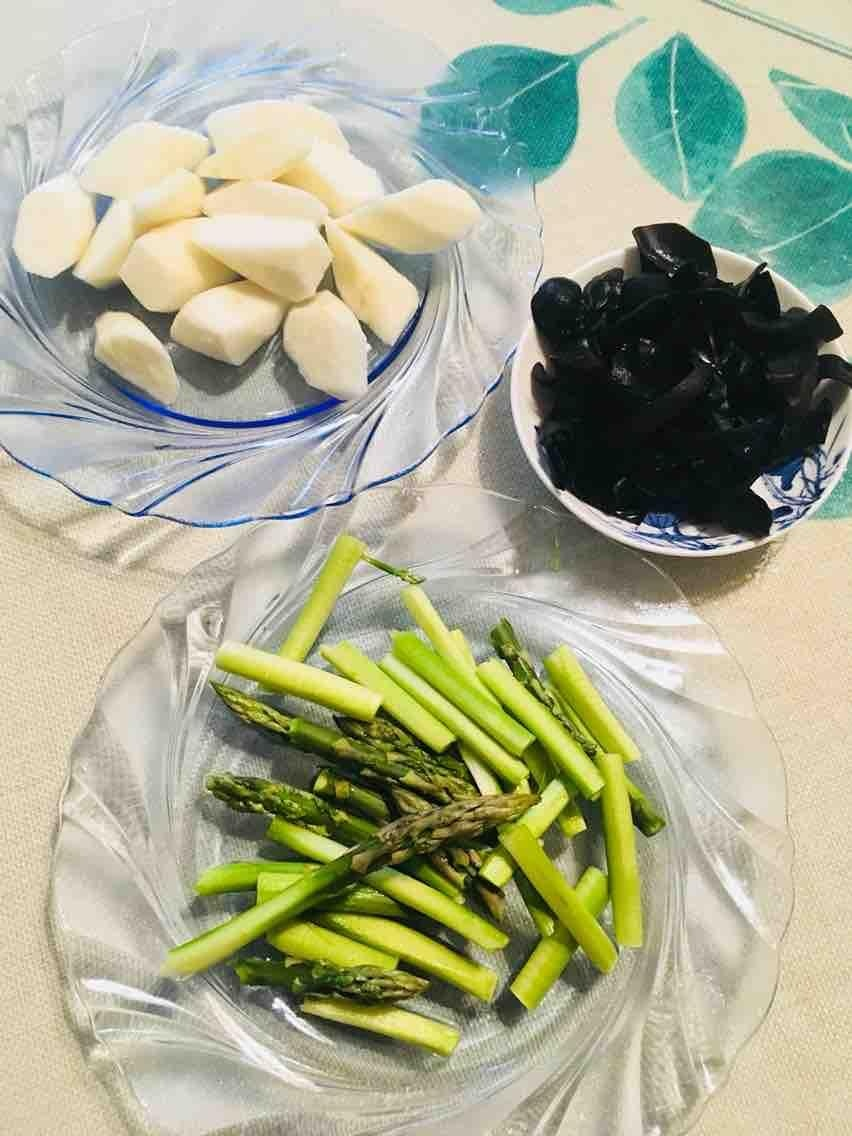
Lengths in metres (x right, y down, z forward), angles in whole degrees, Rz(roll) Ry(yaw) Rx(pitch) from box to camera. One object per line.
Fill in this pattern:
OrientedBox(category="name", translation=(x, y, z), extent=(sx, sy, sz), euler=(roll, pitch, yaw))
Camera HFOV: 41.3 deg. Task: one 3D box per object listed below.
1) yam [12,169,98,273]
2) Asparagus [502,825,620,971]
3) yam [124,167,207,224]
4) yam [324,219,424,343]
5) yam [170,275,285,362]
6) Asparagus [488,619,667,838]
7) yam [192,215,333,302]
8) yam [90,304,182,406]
OrientedBox(category="yam", translation=(-0.551, -0.502, 1.668), extent=(0.119, 0.037, 0.146), euler=(27, 85, -16))
OrientedBox(category="Asparagus", translation=(0.201, 0.467, 1.636), extent=(0.108, 0.373, 0.092), euler=(-11, 41, 22))
OrientedBox(category="yam", translation=(-0.371, -0.541, 1.639), extent=(0.116, 0.038, 0.061), euler=(-22, 98, -15))
OrientedBox(category="yam", translation=(-0.087, -0.429, 1.688), extent=(0.106, 0.057, 0.197), euler=(-42, 109, 6))
OrientedBox(category="yam", translation=(-0.291, -0.359, 1.695), extent=(0.113, 0.046, 0.151), euler=(37, 59, 17))
OrientedBox(category="Asparagus", translation=(0.229, 0.226, 1.679), extent=(0.092, 0.075, 0.469), euler=(-27, 52, -13))
OrientedBox(category="yam", translation=(-0.237, -0.462, 1.660), extent=(0.199, 0.122, 0.090), euler=(17, 64, 4))
OrientedBox(category="yam", translation=(-0.434, -0.321, 1.674), extent=(0.160, 0.038, 0.090), euler=(42, 82, -22))
